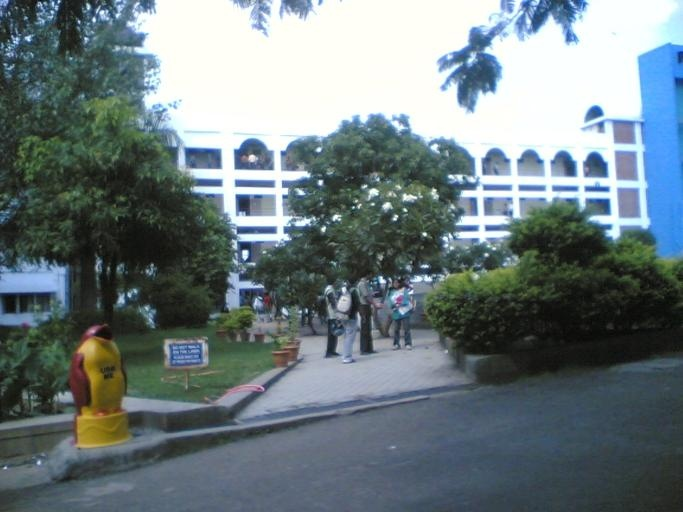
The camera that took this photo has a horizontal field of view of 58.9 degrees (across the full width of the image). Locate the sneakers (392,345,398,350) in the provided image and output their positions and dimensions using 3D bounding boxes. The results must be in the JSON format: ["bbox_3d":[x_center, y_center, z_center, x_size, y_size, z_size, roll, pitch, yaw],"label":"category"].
[{"bbox_3d":[1.518,2.596,17.170,0.088,0.128,0.285,-2,-14,14],"label":"sneakers"}]
